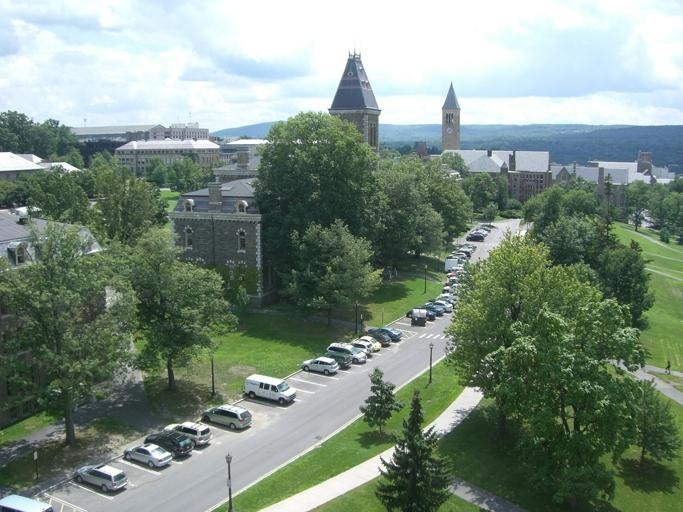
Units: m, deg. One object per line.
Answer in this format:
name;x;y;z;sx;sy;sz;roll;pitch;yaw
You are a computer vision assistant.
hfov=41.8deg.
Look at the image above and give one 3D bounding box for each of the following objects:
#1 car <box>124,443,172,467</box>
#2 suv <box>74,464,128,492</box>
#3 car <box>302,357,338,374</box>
car;-17.755;18.285;82.661;3.877;1.359;1.855;10;8;21
suv;-21.384;19.902;79.956;4.376;1.657;2.031;12;6;21
car;-2.120;12.209;99.177;3.460;1.362;1.759;6;7;18
